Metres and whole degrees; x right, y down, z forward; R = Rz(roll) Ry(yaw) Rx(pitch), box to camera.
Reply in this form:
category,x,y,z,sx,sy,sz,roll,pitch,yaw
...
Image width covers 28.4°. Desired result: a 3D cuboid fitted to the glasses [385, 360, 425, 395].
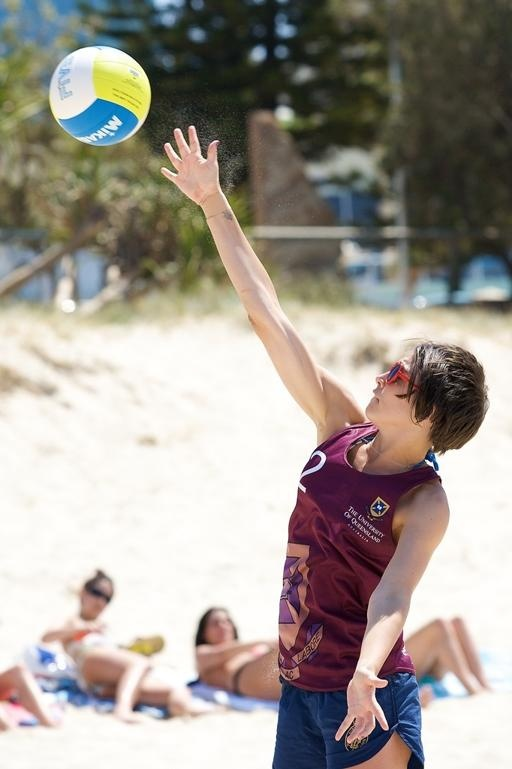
category,x,y,z,sx,sy,sz,roll,pitch,yaw
glasses,0.349,-0.022,2.450,0.081,0.031,0.075,27,-4,-17

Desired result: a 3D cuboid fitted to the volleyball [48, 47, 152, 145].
category,x,y,z,sx,sy,sz,roll,pitch,yaw
volleyball,-0.503,-0.865,3.036,0.316,0.303,0.297,-15,22,-30
